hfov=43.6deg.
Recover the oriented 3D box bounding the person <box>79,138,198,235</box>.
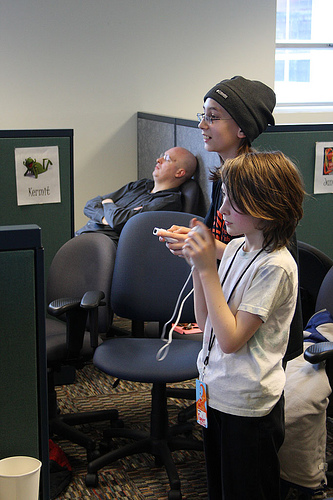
[{"bbox_3d":[-0.134,-0.357,2.486,0.739,0.674,0.530,0,14,-23],"label":"person"}]

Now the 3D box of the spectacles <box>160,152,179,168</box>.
[{"bbox_3d":[0.020,-0.514,2.383,0.093,0.034,0.070,25,0,-27],"label":"spectacles"}]

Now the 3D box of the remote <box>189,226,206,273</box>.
[{"bbox_3d":[0.052,-0.007,0.643,0.022,0.053,0.039,8,-13,-15],"label":"remote"}]

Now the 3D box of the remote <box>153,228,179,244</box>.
[{"bbox_3d":[0.003,-0.024,0.772,0.046,0.011,0.034,21,-5,-21],"label":"remote"}]

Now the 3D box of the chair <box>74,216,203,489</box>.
[{"bbox_3d":[-0.013,0.322,1.453,0.534,0.830,0.544,-1,2,2],"label":"chair"}]
